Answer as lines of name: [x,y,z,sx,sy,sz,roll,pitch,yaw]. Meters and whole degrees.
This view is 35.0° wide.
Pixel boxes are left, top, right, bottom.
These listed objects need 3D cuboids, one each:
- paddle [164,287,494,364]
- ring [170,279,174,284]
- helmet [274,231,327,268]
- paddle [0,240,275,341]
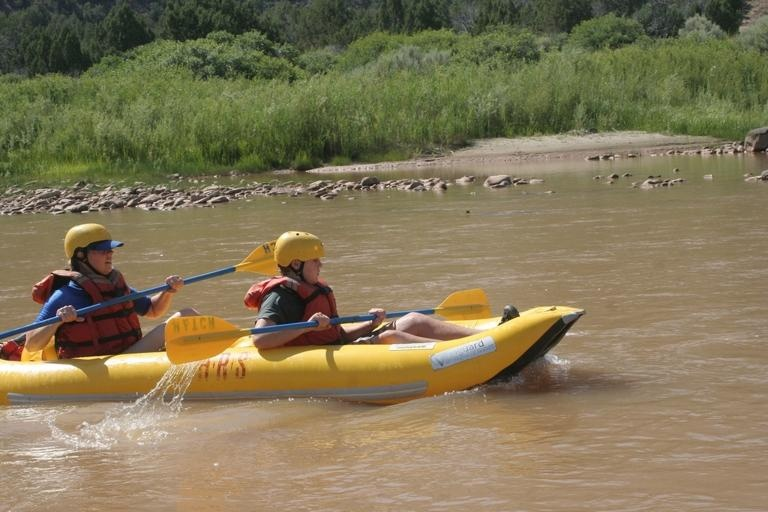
paddle: [-0.386,0.701,13.908,5.171,0.638,0.355,-7,-29,-43]
ring: [-2.267,0.277,13.077,0.075,0.048,0.020,8,0,15]
helmet: [-0.825,-0.082,12.729,0.609,0.280,0.385,-6,2,26]
paddle: [-2.796,0.435,14.027,4.323,0.599,0.393,-10,-41,-23]
